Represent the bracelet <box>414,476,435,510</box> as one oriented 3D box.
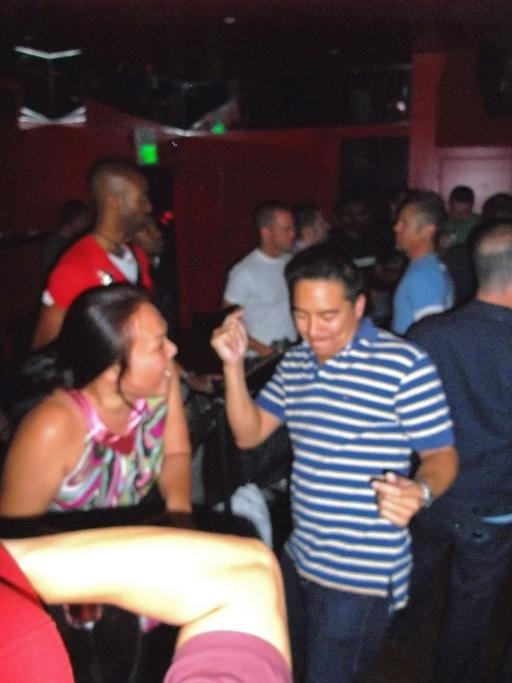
[{"bbox_3d":[0.353,0.324,1.336,0.016,0.052,0.048,-4,52,-9],"label":"bracelet"}]
